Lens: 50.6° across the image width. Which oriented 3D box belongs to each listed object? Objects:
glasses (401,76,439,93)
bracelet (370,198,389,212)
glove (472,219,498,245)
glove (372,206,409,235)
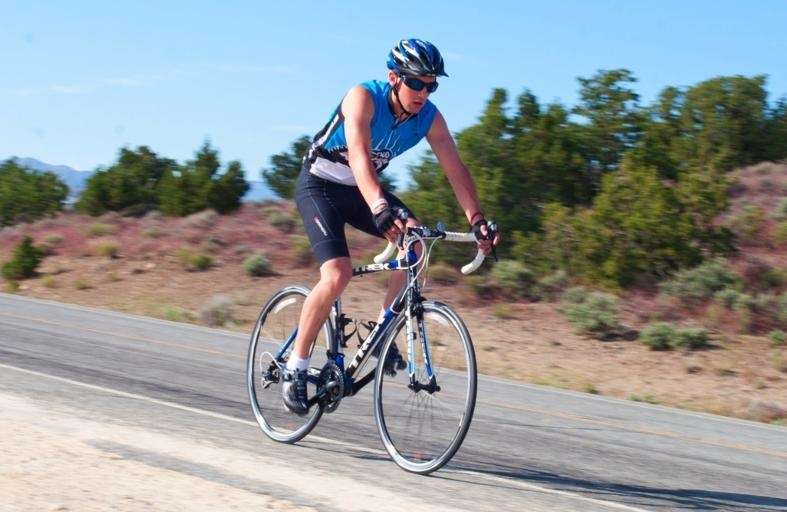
[{"bbox_3d":[0.264,-1.789,8.686,0.383,0.153,0.125,4,7,-1],"label":"glasses"},{"bbox_3d":[-0.141,-0.510,8.445,0.141,0.064,0.149,-24,7,-28],"label":"bracelet"},{"bbox_3d":[0.976,-0.256,8.842,0.281,0.255,0.257,4,7,0],"label":"glove"},{"bbox_3d":[0.031,-0.354,8.505,0.422,0.304,0.238,-2,10,-39],"label":"glove"}]
